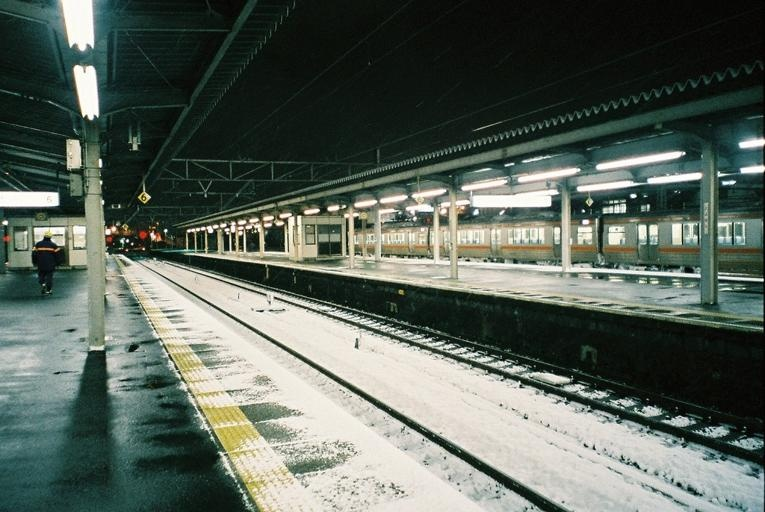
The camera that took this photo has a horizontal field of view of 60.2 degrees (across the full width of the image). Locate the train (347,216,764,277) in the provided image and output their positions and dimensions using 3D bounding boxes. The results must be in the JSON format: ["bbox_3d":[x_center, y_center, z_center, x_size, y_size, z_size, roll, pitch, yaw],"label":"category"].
[{"bbox_3d":[7.731,-0.409,29.045,1.937,1.802,17.874,1,4,-38],"label":"train"}]

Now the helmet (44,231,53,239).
[{"bbox_3d":[-11.034,-0.665,21.727,0.178,0.252,0.689,-3,9,-31],"label":"helmet"}]
